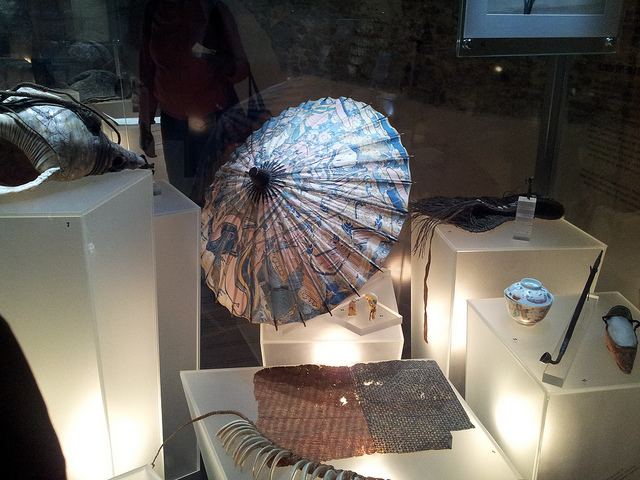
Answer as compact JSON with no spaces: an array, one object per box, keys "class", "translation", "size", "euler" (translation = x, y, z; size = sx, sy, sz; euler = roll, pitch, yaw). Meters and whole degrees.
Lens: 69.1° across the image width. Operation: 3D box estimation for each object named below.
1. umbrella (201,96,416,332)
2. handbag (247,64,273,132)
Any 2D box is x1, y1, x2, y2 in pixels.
[{"class":"umbrella","translation":[-0.056,-0.120,1.739],"size":[0.790,0.729,0.600],"euler":[-5,22,-15]},{"class":"handbag","translation":[-0.277,-0.581,1.936],"size":[0.112,0.116,0.425],"euler":[38,-7,-1]}]
